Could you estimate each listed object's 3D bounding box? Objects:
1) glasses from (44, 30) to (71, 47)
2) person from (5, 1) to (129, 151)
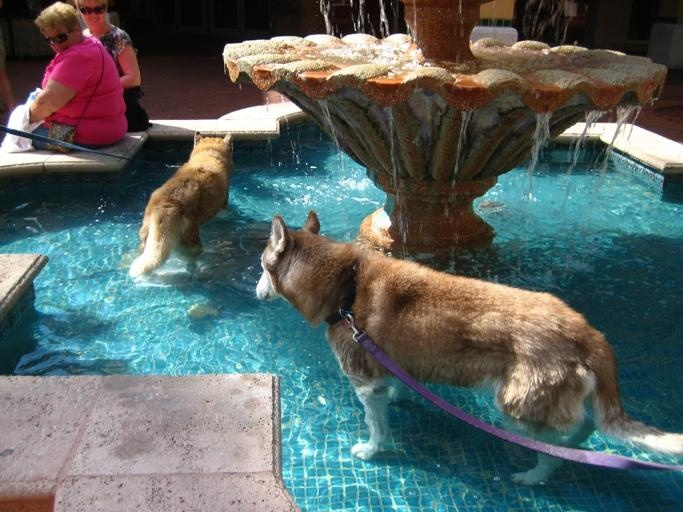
[{"bbox_3d":[-3.620,-2.766,6.054,0.364,0.176,0.157,14,35,20],"label":"glasses"},{"bbox_3d":[-3.665,-2.298,6.265,1.371,1.833,0.509,-13,34,-20],"label":"person"}]
